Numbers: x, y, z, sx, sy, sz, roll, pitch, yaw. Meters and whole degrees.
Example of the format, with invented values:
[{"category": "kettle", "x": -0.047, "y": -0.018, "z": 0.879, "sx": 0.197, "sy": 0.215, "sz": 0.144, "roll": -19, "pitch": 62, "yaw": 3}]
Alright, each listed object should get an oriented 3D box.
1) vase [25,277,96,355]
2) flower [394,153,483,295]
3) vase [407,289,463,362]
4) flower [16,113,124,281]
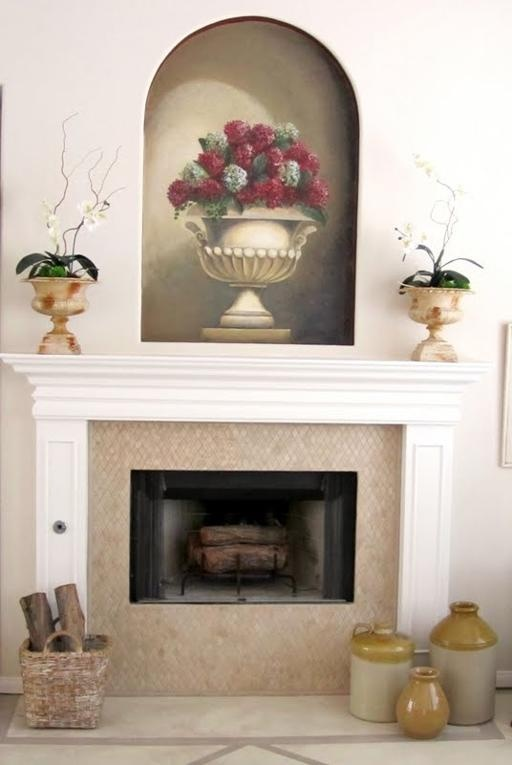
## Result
[{"category": "vase", "x": -0.742, "y": -0.252, "z": 3.025, "sx": 0.232, "sy": 0.285, "sz": 0.263, "roll": 0, "pitch": 5, "yaw": -12}, {"category": "flower", "x": 0.740, "y": -0.631, "z": 3.122, "sx": 0.365, "sy": 0.552, "sz": 0.317, "roll": 2, "pitch": 5, "yaw": 7}, {"category": "vase", "x": 0.698, "y": -0.230, "z": 3.130, "sx": 0.217, "sy": 0.289, "sz": 0.286, "roll": 1, "pitch": 5, "yaw": -4}, {"category": "flower", "x": -0.764, "y": -0.715, "z": 3.039, "sx": 0.371, "sy": 0.664, "sz": 0.363, "roll": 3, "pitch": 5, "yaw": 18}]
